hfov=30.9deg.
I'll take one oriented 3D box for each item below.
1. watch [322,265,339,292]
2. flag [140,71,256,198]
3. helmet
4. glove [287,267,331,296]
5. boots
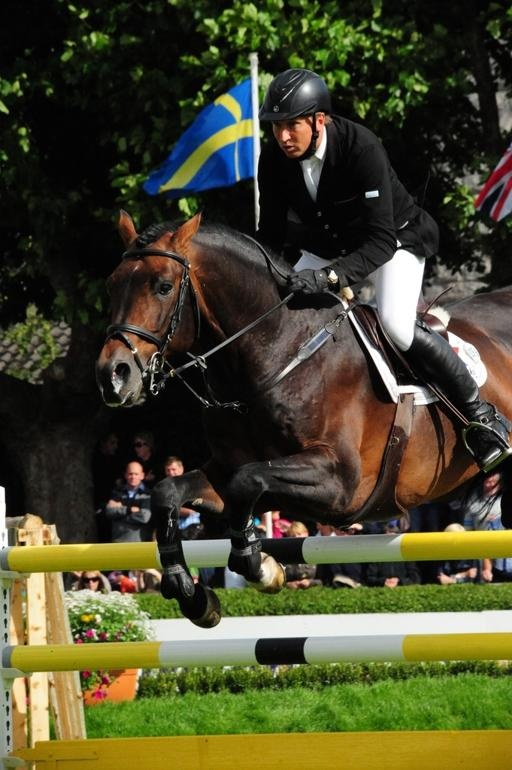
[{"bbox_3d":[0.255,-0.359,3.157,0.054,0.074,0.071,1,40,-11],"label":"watch"},{"bbox_3d":[-0.515,-2.202,8.035,1.245,0.932,0.351,-20,9,-15],"label":"flag"},{"bbox_3d":[0.146,-1.030,3.310,0.194,0.120,0.263,6,15,36],"label":"helmet"},{"bbox_3d":[0.176,-0.360,3.173,0.118,0.082,0.047,-5,-20,0],"label":"glove"},{"bbox_3d":[0.765,0.057,3.598,0.194,0.714,0.239,-48,6,-8],"label":"boots"}]
